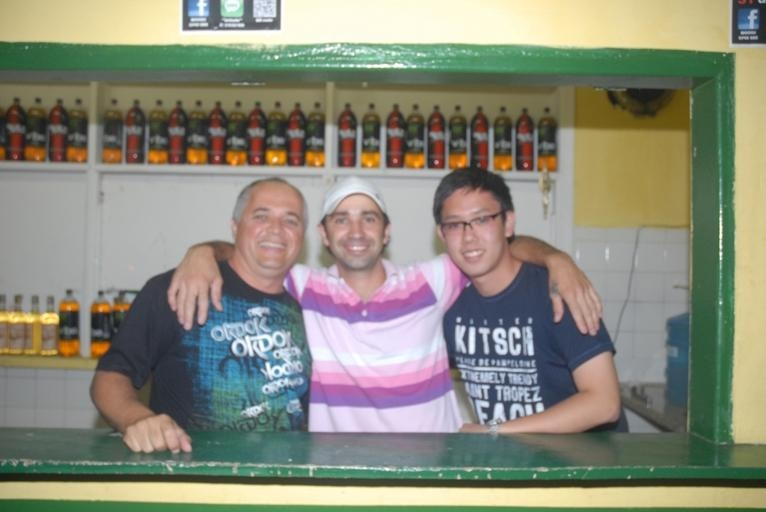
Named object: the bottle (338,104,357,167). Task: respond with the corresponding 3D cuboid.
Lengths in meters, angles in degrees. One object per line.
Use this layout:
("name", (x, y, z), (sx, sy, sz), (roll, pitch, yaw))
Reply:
("bottle", (-0.213, -0.715, 4.177), (0.103, 0.388, 0.069), (-1, -1, -6))

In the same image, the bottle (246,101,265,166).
("bottle", (-0.746, -0.727, 4.187), (0.108, 0.374, 0.073), (-1, -1, -11))

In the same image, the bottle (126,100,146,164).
("bottle", (-1.489, -0.747, 4.258), (0.120, 0.405, 0.187), (-1, -1, -24))

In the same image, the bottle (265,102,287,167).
("bottle", (-0.631, -0.700, 4.189), (0.129, 0.318, 0.088), (-1, -1, -10))

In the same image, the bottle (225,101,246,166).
("bottle", (-0.871, -0.728, 4.197), (0.129, 0.393, 0.127), (-1, -1, 0))

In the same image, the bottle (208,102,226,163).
("bottle", (-0.978, -0.732, 4.191), (0.107, 0.389, 0.093), (-1, -1, -14))

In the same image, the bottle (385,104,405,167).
("bottle", (0.079, -0.718, 4.216), (0.114, 0.388, 0.088), (-1, -1, 1))

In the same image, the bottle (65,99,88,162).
("bottle", (-1.808, -0.738, 4.170), (0.120, 0.365, 0.115), (-1, -1, 0))

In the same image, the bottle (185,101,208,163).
("bottle", (-1.103, -0.713, 4.204), (0.135, 0.314, 0.093), (-1, -1, -14))

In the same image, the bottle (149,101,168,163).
("bottle", (-1.361, -0.728, 4.198), (0.174, 0.370, 0.095), (-2, -1, 29))

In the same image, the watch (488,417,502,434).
("watch", (0.430, 0.646, 2.671), (0.051, 0.037, 0.037), (1, -5, -26))

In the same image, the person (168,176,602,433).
("person", (-0.021, 0.223, 3.027), (1.385, 1.629, 0.488), (-1, -25, -3))

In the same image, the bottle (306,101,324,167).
("bottle", (-0.399, -0.728, 4.197), (0.112, 0.403, 0.123), (-1, -1, 0))

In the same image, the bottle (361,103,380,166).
("bottle", (-0.072, -0.734, 4.262), (0.117, 0.395, 0.134), (-1, -1, -7))

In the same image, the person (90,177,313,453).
("person", (-0.721, 0.198, 2.864), (0.843, 1.056, 0.353), (-1, -1, -33))

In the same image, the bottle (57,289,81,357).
("bottle", (-1.856, 0.424, 4.169), (0.122, 0.319, 0.134), (-1, -1, -19))

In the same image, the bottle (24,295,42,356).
("bottle", (-2.104, 0.413, 4.246), (0.083, 0.341, 0.262), (-1, -1, -26))

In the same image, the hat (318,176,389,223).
("hat", (-0.167, -0.259, 3.202), (0.276, 0.181, 0.395), (-3, -3, -7))

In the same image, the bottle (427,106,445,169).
("bottle", (0.318, -0.711, 4.230), (0.103, 0.384, 0.112), (-1, -1, 0))

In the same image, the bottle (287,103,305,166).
("bottle", (-0.505, -0.694, 4.155), (0.113, 0.350, 0.101), (-1, -1, -7))

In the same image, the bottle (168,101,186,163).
("bottle", (-1.213, -0.735, 4.187), (0.115, 0.377, 0.073), (-1, -1, -17))
